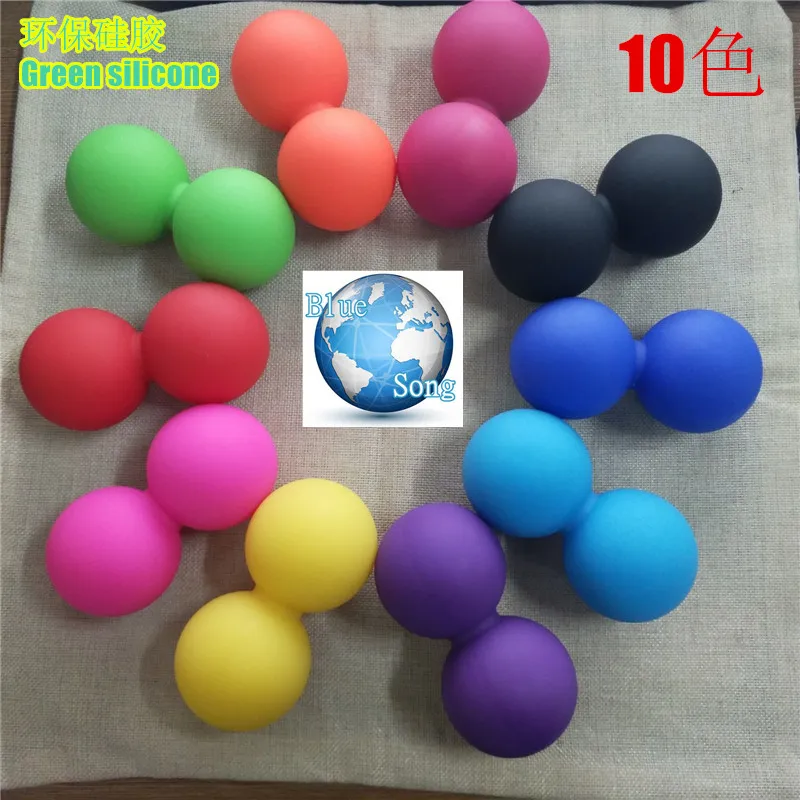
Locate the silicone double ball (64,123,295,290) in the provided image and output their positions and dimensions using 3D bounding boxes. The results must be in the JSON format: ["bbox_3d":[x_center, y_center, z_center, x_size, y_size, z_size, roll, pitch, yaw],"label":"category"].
[{"bbox_3d":[-0.373,-0.331,1.641,0.417,0.218,0.222,22,50,-1],"label":"silicone double ball"}]

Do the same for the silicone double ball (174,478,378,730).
[{"bbox_3d":[-0.208,0.344,1.580,0.247,0.213,0.472,39,84,-8],"label":"silicone double ball"}]

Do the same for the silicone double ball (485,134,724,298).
[{"bbox_3d":[0.351,-0.309,1.630,0.427,0.206,0.228,-27,95,-4],"label":"silicone double ball"}]

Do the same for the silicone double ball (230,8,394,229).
[{"bbox_3d":[-0.158,-0.497,1.651,0.220,0.194,0.431,-20,86,-22],"label":"silicone double ball"}]

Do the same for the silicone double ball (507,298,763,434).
[{"bbox_3d":[0.392,-0.043,1.513,0.396,0.207,0.216,1,88,-5],"label":"silicone double ball"}]
